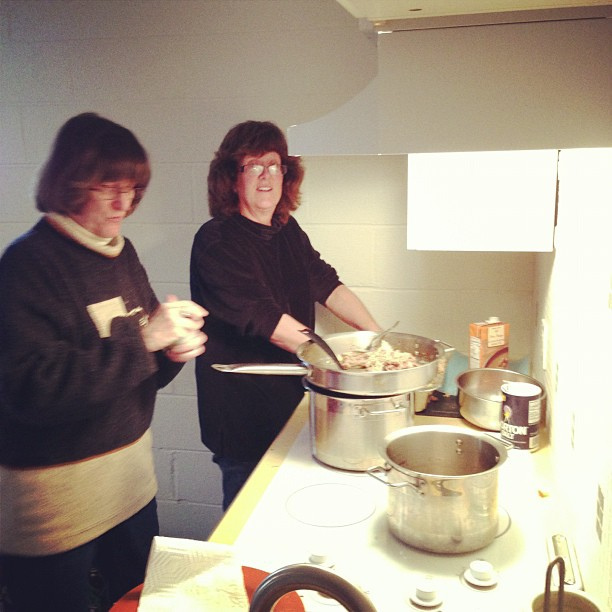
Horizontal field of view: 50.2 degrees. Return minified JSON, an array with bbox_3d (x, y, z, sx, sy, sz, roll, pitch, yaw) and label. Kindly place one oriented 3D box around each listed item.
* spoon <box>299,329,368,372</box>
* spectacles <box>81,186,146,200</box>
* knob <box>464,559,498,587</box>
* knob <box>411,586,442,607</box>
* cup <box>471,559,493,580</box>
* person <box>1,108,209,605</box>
[{"bbox_3d":[0.056,0.104,1.539,0.146,0.108,0.105,4,12,30],"label":"spoon"},{"bbox_3d":[-0.602,-0.359,2.079,0.022,0.040,0.238,4,10,29],"label":"spectacles"},{"bbox_3d":[0.298,0.453,1.105,0.056,0.025,0.043,1,10,12],"label":"knob"},{"bbox_3d":[0.196,0.469,1.057,0.048,0.022,0.025,0,10,6],"label":"knob"},{"bbox_3d":[0.306,0.446,1.127,0.035,0.018,0.064,1,9,15],"label":"cup"},{"bbox_3d":[-0.695,0.141,2.074,0.378,1.554,0.652,7,14,39],"label":"person"}]
